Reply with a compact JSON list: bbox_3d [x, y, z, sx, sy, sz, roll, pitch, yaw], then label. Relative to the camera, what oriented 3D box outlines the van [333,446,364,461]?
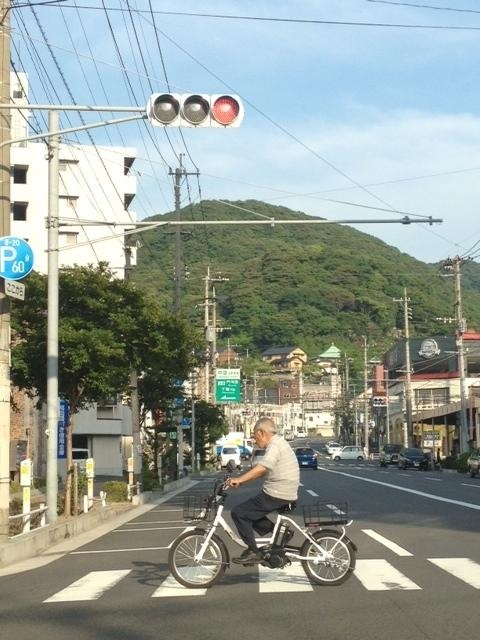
[{"bbox_3d":[9.960,12.055,86.220,2.258,1.125,1.346,3,-8,-1],"label":"van"}]

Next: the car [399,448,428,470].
[{"bbox_3d":[9.840,7.927,53.983,1.567,1.165,2.196,-3,-8,8],"label":"car"}]

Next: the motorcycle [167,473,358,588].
[{"bbox_3d":[0.224,2.171,9.783,1.916,1.227,0.718,-2,3,2],"label":"motorcycle"}]

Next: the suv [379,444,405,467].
[{"bbox_3d":[10.038,8.920,62.689,1.096,1.205,2.162,0,-11,-2],"label":"suv"}]

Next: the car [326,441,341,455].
[{"bbox_3d":[9.340,12.606,93.044,1.352,1.176,2.996,0,-10,-3],"label":"car"}]

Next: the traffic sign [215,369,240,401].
[{"bbox_3d":[-0.866,4.537,66.060,2.061,2.807,0.124,-2,4,1],"label":"traffic sign"}]

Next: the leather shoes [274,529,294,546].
[{"bbox_3d":[0.460,2.197,9.565,0.051,0.212,0.151,25,-10,-19],"label":"leather shoes"}]

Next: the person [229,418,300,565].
[{"bbox_3d":[0.253,1.705,9.529,0.687,1.444,0.687,-2,-7,1],"label":"person"}]

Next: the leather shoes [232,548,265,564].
[{"bbox_3d":[0.100,2.341,9.364,0.318,0.139,0.119,5,-12,-16],"label":"leather shoes"}]

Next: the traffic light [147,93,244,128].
[{"bbox_3d":[-0.612,-2.772,12.816,1.295,0.520,0.304,-3,-8,8],"label":"traffic light"}]
